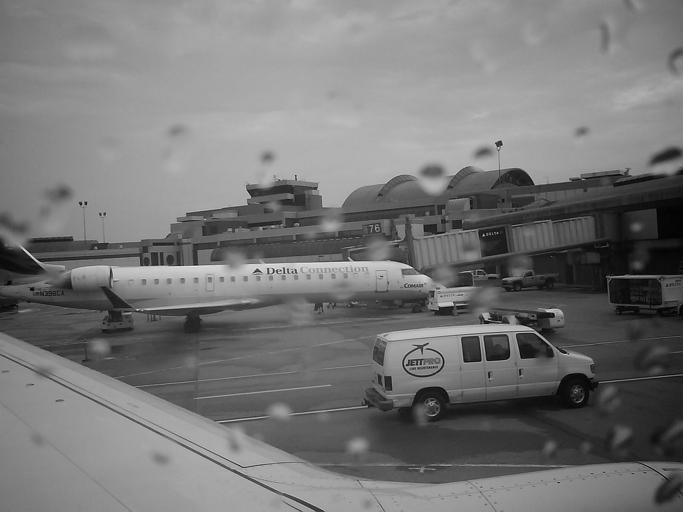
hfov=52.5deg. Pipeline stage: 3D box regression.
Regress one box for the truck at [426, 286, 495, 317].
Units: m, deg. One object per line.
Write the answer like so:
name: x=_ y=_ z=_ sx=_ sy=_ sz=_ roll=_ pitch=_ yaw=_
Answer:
truck: x=5.990 y=2.360 z=35.831 sx=2.652 sy=0.820 sz=1.447 roll=-5 pitch=6 yaw=-27

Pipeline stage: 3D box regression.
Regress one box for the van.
van: x=3.729 y=2.703 z=18.039 sx=5.798 sy=1.863 sz=2.403 roll=-5 pitch=2 yaw=-12

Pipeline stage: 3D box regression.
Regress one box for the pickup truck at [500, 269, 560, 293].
pickup truck: x=13.293 y=1.818 z=49.324 sx=3.651 sy=1.066 sz=1.567 roll=0 pitch=-2 yaw=-24
